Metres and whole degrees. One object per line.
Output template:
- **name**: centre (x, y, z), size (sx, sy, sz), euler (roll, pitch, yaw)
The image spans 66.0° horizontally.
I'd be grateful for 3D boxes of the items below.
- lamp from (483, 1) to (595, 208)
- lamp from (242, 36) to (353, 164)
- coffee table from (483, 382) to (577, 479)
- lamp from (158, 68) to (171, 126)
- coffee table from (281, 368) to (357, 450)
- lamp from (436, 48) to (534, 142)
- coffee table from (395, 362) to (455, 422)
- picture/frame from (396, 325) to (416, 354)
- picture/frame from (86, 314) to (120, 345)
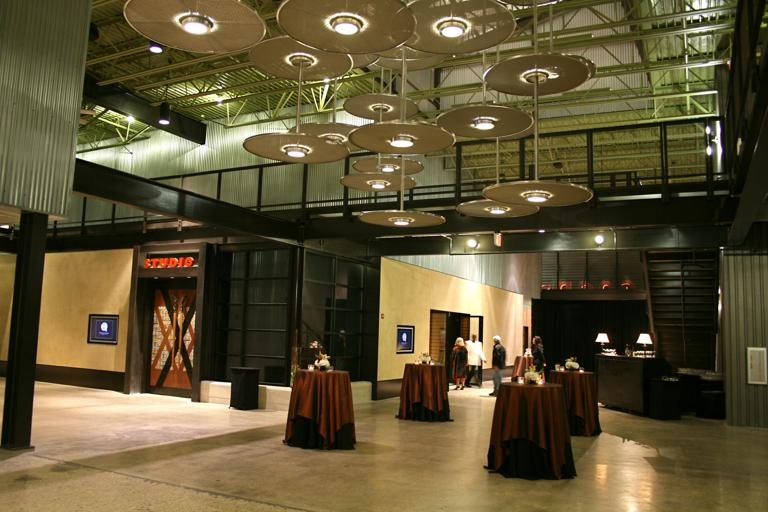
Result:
- **lamp**: centre (2.107, -2.099, 8.150), size (1.435, 2.502, 2.568), euler (2, -3, 18)
- **lamp**: centre (-1.254, -2.202, 8.498), size (1.811, 1.408, 1.670), euler (5, -8, -25)
- **coffee table**: centre (2.492, 2.956, 10.449), size (1.809, 1.404, 1.520), euler (1, -1, 2)
- **lamp**: centre (-6.897, -4.980, 18.594), size (0.495, 1.927, 0.435), euler (9, -56, -26)
- **coffee table**: centre (-1.167, 2.992, 11.755), size (1.780, 1.389, 1.426), euler (3, -13, -9)
- **lamp**: centre (1.453, -2.199, 8.411), size (1.123, 1.005, 1.013), euler (4, -8, -6)
- **coffee table**: centre (1.001, 3.441, 14.876), size (1.695, 1.307, 1.314), euler (0, -17, 3)
- **picture/frame**: centre (0.626, 2.561, 18.067), size (0.040, 0.652, 1.049), euler (-3, -9, 28)
- **picture/frame**: centre (-8.014, 2.135, 16.995), size (1.109, 0.780, 0.076), euler (-1, -11, 22)
